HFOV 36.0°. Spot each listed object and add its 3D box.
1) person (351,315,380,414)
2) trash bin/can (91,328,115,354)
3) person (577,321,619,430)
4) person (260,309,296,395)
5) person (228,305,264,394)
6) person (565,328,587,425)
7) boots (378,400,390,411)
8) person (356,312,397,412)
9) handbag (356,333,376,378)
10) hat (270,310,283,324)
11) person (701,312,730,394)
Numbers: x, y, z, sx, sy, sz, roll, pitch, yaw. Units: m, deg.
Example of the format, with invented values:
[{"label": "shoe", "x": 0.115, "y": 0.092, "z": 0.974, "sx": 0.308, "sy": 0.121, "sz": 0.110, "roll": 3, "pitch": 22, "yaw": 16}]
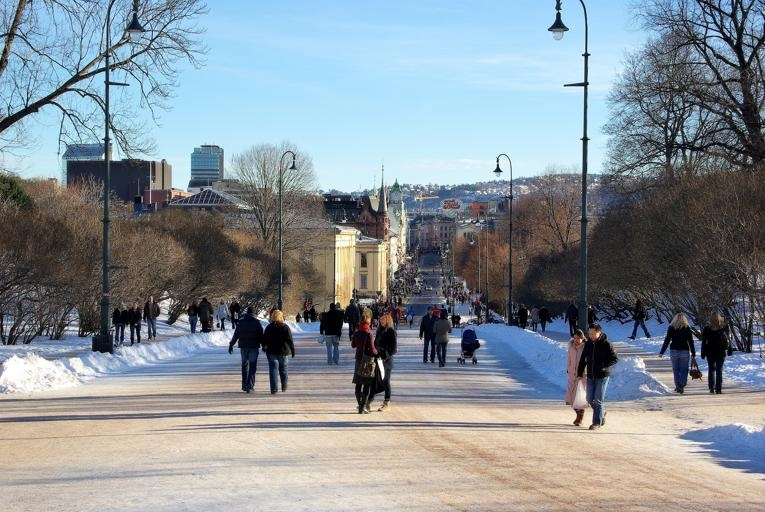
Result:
[{"label": "person", "x": -0.578, "y": 3.435, "z": 37.664, "sx": 0.773, "sy": 2.767, "sz": 0.886, "roll": -1, "pitch": 0, "yaw": 41}, {"label": "trash bin/can", "x": -10.987, "y": 3.394, "z": 46.502, "sx": 0.862, "sy": 1.235, "sz": 0.862, "roll": -1, "pitch": 4, "yaw": -28}, {"label": "person", "x": 6.609, "y": 3.700, "z": 36.206, "sx": 1.198, "sy": 3.187, "sz": 1.003, "roll": 1, "pitch": -1, "yaw": 15}, {"label": "person", "x": -3.499, "y": 3.228, "z": 39.780, "sx": 1.109, "sy": 2.824, "sz": 1.105, "roll": 0, "pitch": 0, "yaw": -1}, {"label": "person", "x": -4.521, "y": 3.145, "z": 40.184, "sx": 1.279, "sy": 2.875, "sz": 0.909, "roll": 0, "pitch": -2, "yaw": 14}, {"label": "person", "x": 6.035, "y": 3.744, "z": 36.376, "sx": 0.783, "sy": 2.932, "sz": 0.747, "roll": 0, "pitch": 0, "yaw": 37}, {"label": "boots", "x": 0.067, "y": 4.799, "z": 37.744, "sx": 0.335, "sy": 0.321, "sz": 0.803, "roll": 1, "pitch": 0, "yaw": 0}, {"label": "person", "x": -0.108, "y": 3.329, "z": 37.926, "sx": 0.962, "sy": 3.308, "sz": 1.193, "roll": 0, "pitch": -1, "yaw": -4}, {"label": "handbag", "x": -0.488, "y": 3.164, "z": 37.459, "sx": 0.588, "sy": 1.457, "sz": 0.479, "roll": 1, "pitch": 0, "yaw": -2}, {"label": "hat", "x": -3.507, "y": 1.992, "z": 39.326, "sx": 0.337, "sy": 0.448, "sz": 0.439, "roll": 3, "pitch": 12, "yaw": 8}, {"label": "person", "x": 11.261, "y": 3.279, "z": 39.824, "sx": 0.848, "sy": 2.765, "sz": 0.846, "roll": 1, "pitch": 0, "yaw": 17}]
